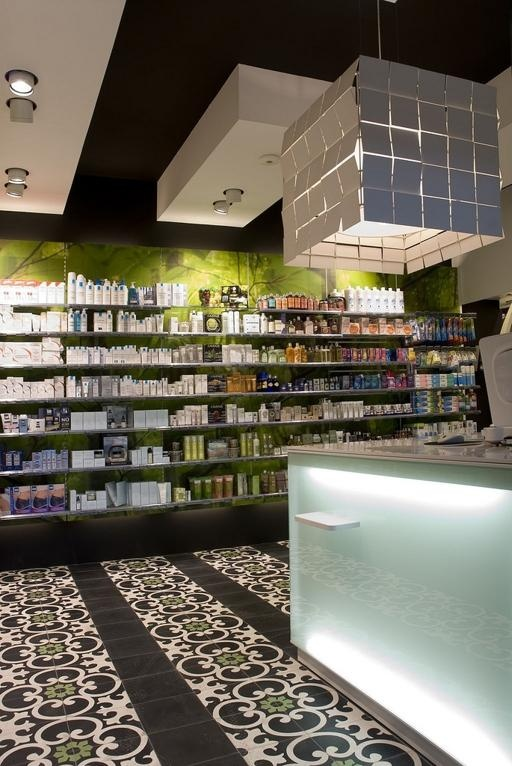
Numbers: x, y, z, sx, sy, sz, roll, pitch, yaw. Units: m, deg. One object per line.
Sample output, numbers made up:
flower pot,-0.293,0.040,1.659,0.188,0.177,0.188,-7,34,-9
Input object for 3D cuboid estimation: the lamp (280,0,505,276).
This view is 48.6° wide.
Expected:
lamp,0.693,-1.085,3.103,0.896,0.813,0.886,0,-6,-23

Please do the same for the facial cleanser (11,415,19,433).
facial cleanser,-2.004,0.346,4.731,0.044,0.147,0.083,1,-6,-31
